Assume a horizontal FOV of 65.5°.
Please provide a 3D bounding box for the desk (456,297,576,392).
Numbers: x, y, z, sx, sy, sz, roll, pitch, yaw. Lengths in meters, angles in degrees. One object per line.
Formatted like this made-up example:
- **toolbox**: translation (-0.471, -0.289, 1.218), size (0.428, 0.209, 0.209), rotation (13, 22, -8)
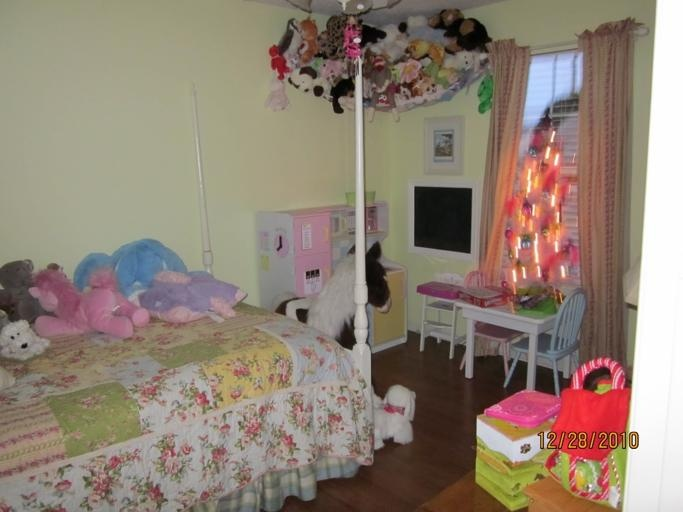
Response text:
- **desk**: translation (1.629, 0.718, 4.921), size (0.721, 0.643, 0.718), rotation (-8, 12, -44)

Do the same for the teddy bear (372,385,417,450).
- **teddy bear**: translation (0.398, 1.250, 4.162), size (0.355, 0.213, 0.559), rotation (1, 21, 11)

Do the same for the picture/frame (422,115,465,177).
- **picture/frame**: translation (1.137, -1.219, 5.848), size (0.055, 0.817, 0.609), rotation (-8, 11, -44)

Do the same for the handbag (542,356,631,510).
- **handbag**: translation (0.931, 0.647, 2.020), size (0.262, 0.492, 0.247), rotation (5, 14, 26)
